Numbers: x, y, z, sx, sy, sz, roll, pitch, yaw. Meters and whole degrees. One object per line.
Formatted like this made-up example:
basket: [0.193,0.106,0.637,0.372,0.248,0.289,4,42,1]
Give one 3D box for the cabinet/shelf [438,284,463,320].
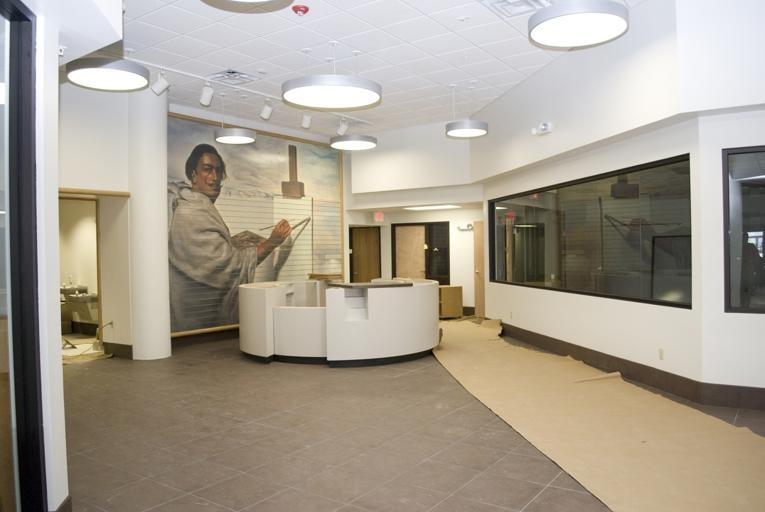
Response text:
cabinet/shelf: [1.995,1.213,13.031,0.878,1.056,1.216,1,-5,-4]
